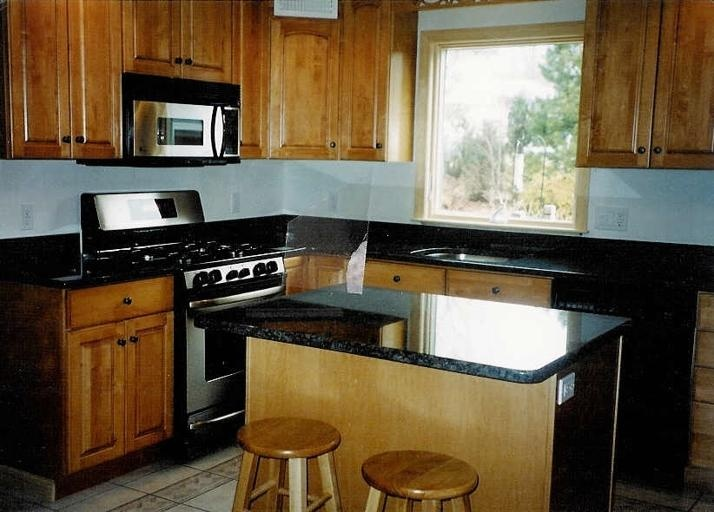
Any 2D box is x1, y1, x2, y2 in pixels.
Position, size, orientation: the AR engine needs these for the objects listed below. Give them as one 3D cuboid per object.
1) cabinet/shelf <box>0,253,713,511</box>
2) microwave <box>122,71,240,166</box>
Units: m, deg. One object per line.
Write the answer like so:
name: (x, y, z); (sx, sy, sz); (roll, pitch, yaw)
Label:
cabinet/shelf: (0.292, 0.562, 3.651); (3.194, 1.065, 1.071); (1, 10, -1)
microwave: (-1.039, -0.803, 3.611); (0.486, 0.507, 0.822); (3, 3, 34)
